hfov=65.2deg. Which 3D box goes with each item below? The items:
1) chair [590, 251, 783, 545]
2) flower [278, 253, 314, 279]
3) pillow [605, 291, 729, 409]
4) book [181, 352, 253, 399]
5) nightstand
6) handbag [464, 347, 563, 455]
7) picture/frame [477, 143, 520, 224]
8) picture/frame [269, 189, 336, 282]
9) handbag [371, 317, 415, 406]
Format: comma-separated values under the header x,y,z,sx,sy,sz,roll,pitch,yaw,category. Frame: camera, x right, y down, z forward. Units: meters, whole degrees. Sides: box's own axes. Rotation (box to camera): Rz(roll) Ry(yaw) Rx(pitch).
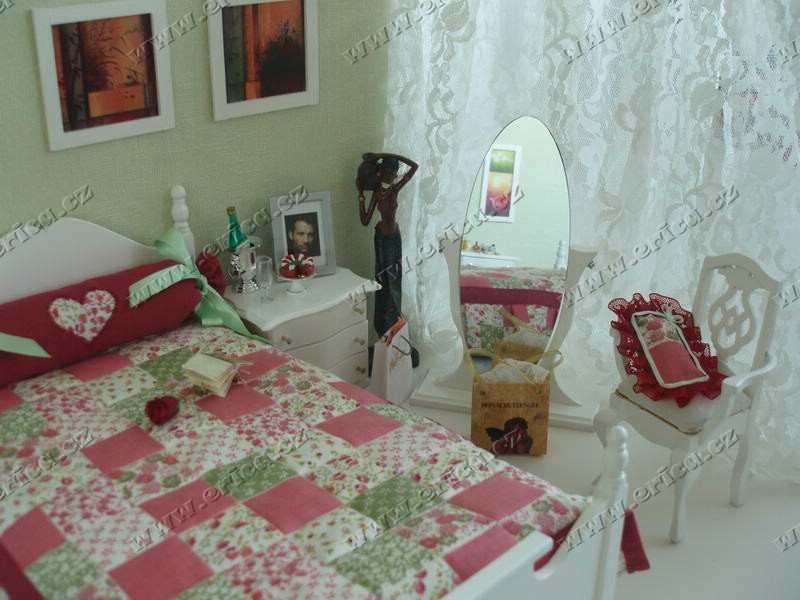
x,y,z,sx,sy,sz,roll,pitch,yaw,category
1.566,0.513,2.934,0.561,1.176,0.725,32,-15,-26,chair
-0.574,-0.200,3.449,0.146,0.066,0.149,-9,43,-14,flower
1.220,0.222,2.932,0.397,0.112,0.618,-11,50,2,pillow
-0.800,0.314,2.651,0.175,0.185,0.064,17,23,-4,book
-0.555,0.333,3.693,0.569,0.741,0.844,25,37,38,nightstand
0.583,0.526,3.240,0.484,0.608,0.224,1,12,3,handbag
0.536,-0.629,3.382,0.182,0.384,0.119,4,18,10,picture/frame
-0.575,-0.373,3.609,0.435,0.584,0.038,-13,15,-34,picture/frame
-0.040,0.359,3.551,0.151,0.408,0.340,12,30,18,handbag
